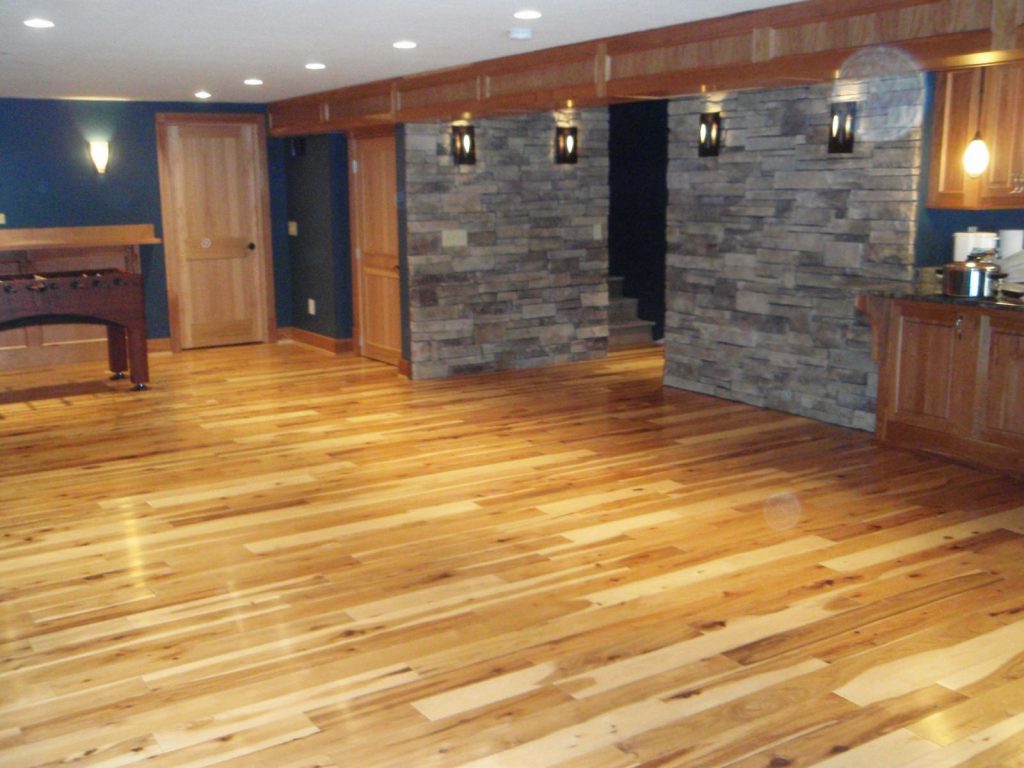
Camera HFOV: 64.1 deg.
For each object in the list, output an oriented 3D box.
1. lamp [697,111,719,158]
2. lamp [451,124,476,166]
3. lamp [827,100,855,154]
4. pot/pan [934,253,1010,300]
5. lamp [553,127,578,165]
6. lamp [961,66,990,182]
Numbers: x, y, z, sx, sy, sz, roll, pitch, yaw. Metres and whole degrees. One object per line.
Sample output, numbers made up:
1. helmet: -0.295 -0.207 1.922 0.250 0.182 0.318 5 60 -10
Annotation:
1. lamp: 1.647 -2.084 6.833 0.080 0.373 0.235 -20 23 -36
2. lamp: -0.458 -2.276 7.774 0.273 0.397 0.120 -8 18 -10
3. lamp: 2.413 -1.865 5.948 0.077 0.372 0.185 -22 24 -39
4. pot/pan: 3.017 -0.709 5.358 0.448 0.293 0.407 5 11 36
5. lamp: 0.551 -2.424 8.297 0.327 0.376 0.080 -18 22 -40
6. lamp: 3.051 -1.697 5.328 0.165 0.697 0.308 3 20 26
